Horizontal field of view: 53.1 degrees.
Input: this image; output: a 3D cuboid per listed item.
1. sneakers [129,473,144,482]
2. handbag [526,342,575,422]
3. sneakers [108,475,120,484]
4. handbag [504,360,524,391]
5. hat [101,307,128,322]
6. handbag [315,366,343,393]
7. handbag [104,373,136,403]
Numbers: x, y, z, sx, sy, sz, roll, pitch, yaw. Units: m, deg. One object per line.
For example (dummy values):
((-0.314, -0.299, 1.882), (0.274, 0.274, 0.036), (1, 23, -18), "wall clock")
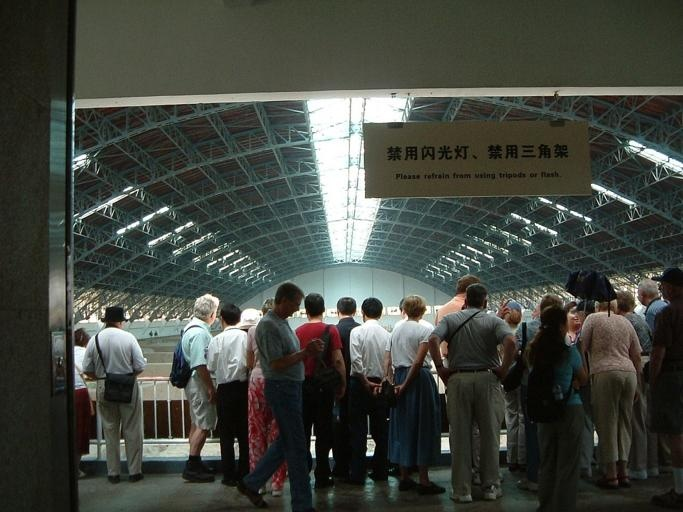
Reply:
((-2.396, 2.564, 7.996), (0.064, 0.072, 0.176), (1, 3, 16), "sneakers")
((1.989, 1.197, 6.426), (0.513, 0.679, 0.142), (-7, -13, 16), "handbag")
((-2.656, 2.577, 7.935), (0.163, 0.097, 0.097), (-6, -12, 14), "sneakers")
((1.777, 1.228, 7.078), (0.215, 0.299, 0.255), (-2, -12, -3), "handbag")
((-2.734, 0.694, 8.256), (0.197, 0.134, 0.260), (4, 6, -4), "hat")
((-0.144, 1.314, 7.356), (0.331, 0.224, 0.225), (-2, 0, -19), "handbag")
((-2.598, 1.538, 7.989), (0.337, 0.360, 0.179), (0, -12, -14), "handbag")
